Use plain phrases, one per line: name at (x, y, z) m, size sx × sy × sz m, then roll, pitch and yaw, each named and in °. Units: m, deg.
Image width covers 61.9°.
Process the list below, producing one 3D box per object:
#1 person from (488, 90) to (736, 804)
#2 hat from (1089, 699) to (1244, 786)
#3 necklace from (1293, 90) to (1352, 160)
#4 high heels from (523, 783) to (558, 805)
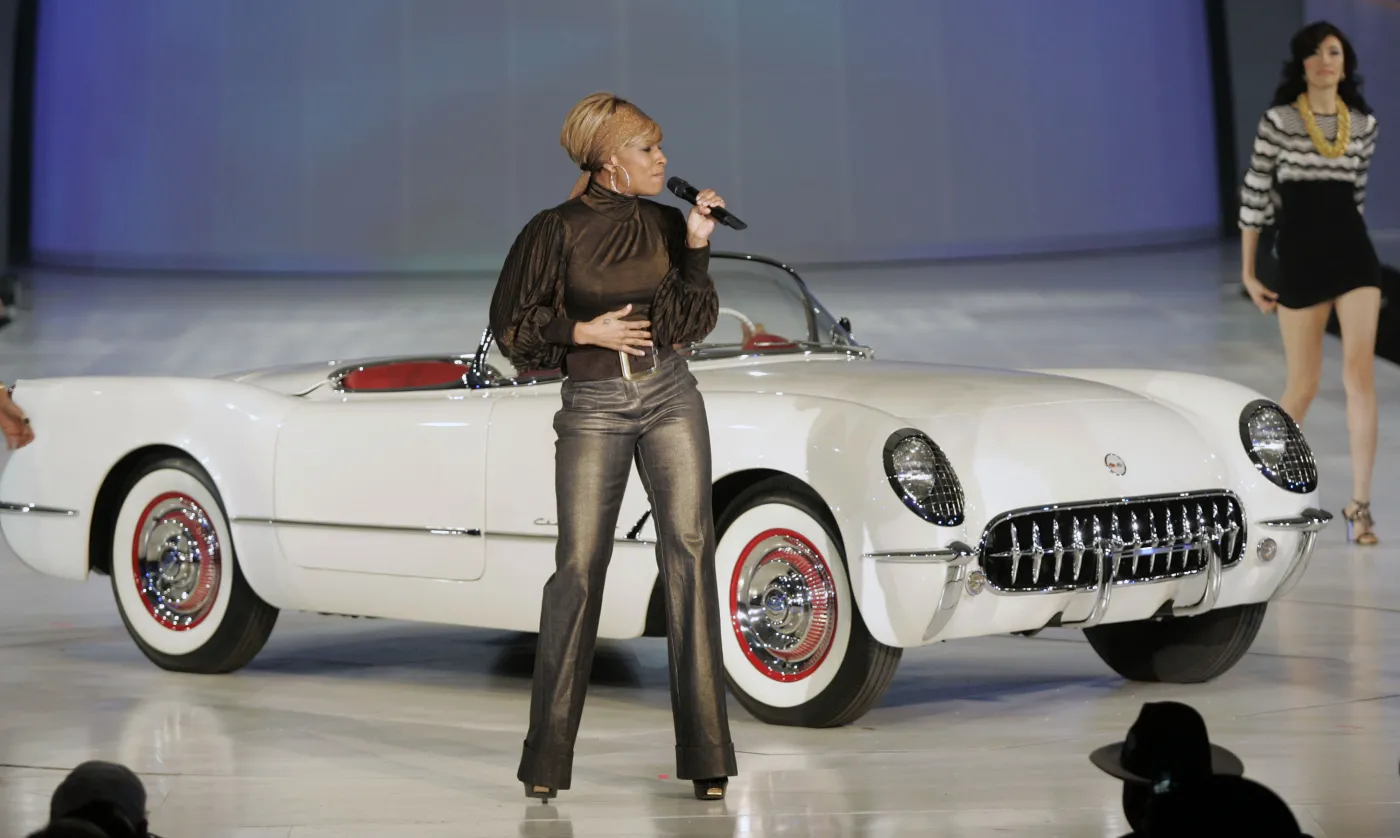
person at (-0.272, 0.072, 3.530) m, size 0.676 × 2.107 × 0.437 m, roll -2°, pitch 6°, yaw -9°
hat at (0.958, 0.667, 2.406) m, size 0.297 × 0.113 × 0.298 m, roll 0°, pitch 6°, yaw 31°
necklace at (3.493, -1.627, 6.537) m, size 0.253 × 0.326 × 0.098 m, roll -2°, pitch -4°, yaw -4°
high heels at (-0.476, 1.094, 3.450) m, size 0.081 × 0.052 × 0.081 m, roll 1°, pitch 1°, yaw -23°
